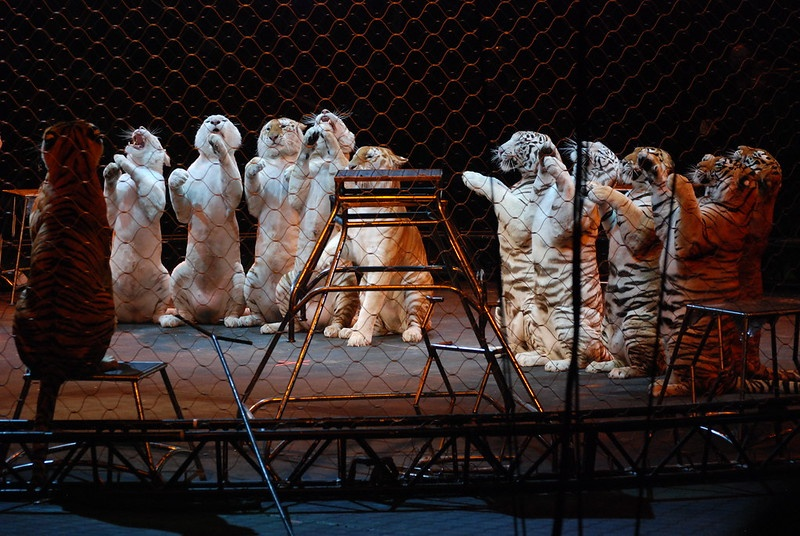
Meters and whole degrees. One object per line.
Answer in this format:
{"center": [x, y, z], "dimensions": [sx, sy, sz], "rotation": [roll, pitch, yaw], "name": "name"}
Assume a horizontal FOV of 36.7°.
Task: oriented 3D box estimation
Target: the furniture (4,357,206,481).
{"center": [-1.751, 0.822, 7.416], "dimensions": [1.186, 0.697, 0.796], "rotation": [-1, -11, 5], "name": "furniture"}

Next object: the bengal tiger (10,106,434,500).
{"center": [-1.264, 0.266, 8.852], "dimensions": [2.553, 2.131, 0.986], "rotation": [1, 36, -3], "name": "bengal tiger"}
